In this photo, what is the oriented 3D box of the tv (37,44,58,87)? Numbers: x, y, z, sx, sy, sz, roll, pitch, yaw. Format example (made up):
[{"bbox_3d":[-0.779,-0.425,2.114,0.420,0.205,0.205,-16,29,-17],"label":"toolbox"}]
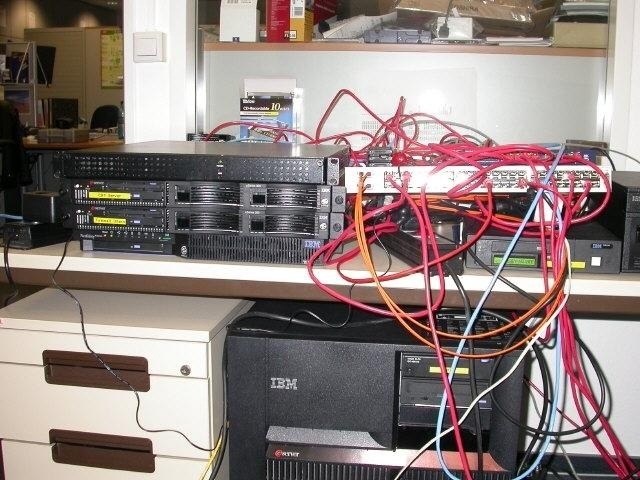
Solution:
[{"bbox_3d":[-3.141,-2.012,6.886,0.209,0.453,0.669,-6,12,-23],"label":"tv"}]

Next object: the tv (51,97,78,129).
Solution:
[{"bbox_3d":[-2.765,-1.375,6.509,0.279,0.311,0.729,-6,12,-23],"label":"tv"}]
